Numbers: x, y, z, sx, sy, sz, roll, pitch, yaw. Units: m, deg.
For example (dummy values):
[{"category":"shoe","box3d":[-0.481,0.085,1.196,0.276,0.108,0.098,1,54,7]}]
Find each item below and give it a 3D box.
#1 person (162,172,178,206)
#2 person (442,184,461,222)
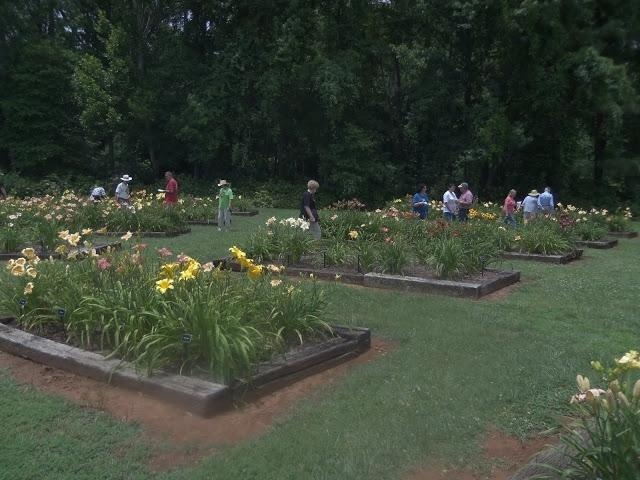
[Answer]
[{"category":"person","box3d":[-5.124,-1.757,18.823,0.394,1.056,0.624,-3,14,-19]},{"category":"person","box3d":[4.298,-1.278,17.932,0.501,1.212,2.042,5,14,13]}]
